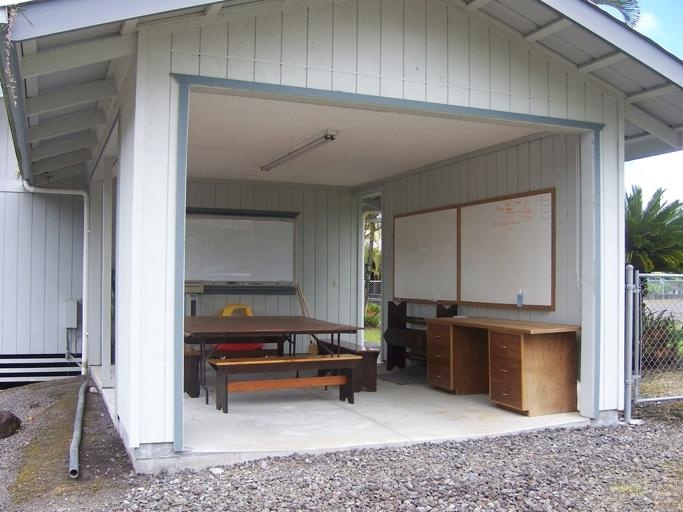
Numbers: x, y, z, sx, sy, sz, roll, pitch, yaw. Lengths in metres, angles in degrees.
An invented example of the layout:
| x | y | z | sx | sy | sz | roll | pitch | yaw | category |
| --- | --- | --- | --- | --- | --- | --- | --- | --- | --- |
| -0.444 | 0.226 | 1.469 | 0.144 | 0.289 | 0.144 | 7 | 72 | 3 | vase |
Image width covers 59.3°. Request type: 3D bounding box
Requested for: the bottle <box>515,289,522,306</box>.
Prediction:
| x | y | z | sx | sy | sz | roll | pitch | yaw | category |
| --- | --- | --- | --- | --- | --- | --- | --- | --- | --- |
| 2.134 | 0.505 | 7.171 | 0.021 | 0.193 | 0.116 | -1 | 2 | -27 | bottle |

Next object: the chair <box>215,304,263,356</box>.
| x | y | z | sx | sy | sz | roll | pitch | yaw | category |
| --- | --- | --- | --- | --- | --- | --- | --- | --- | --- |
| -1.642 | 1.139 | 9.395 | 0.600 | 0.817 | 0.293 | 6 | -13 | -27 | chair |

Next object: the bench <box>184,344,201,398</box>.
| x | y | z | sx | sy | sz | roll | pitch | yaw | category |
| --- | --- | --- | --- | --- | --- | --- | --- | --- | --- |
| -1.765 | 1.396 | 7.165 | 0.236 | 0.634 | 0.676 | 0 | 1 | -19 | bench |

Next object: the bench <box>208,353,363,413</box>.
| x | y | z | sx | sy | sz | roll | pitch | yaw | category |
| --- | --- | --- | --- | --- | --- | --- | --- | --- | --- |
| -0.612 | 1.398 | 7.128 | 1.703 | 0.603 | 1.957 | 0 | 1 | 4 | bench |

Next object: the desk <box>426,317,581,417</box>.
| x | y | z | sx | sy | sz | roll | pitch | yaw | category |
| --- | --- | --- | --- | --- | --- | --- | --- | --- | --- |
| 1.862 | 1.284 | 7.202 | 0.819 | 0.924 | 1.918 | 0 | -3 | -25 | desk |

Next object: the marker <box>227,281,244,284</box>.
| x | y | z | sx | sy | sz | roll | pitch | yaw | category |
| --- | --- | --- | --- | --- | --- | --- | --- | --- | --- |
| -1.752 | 0.442 | 10.004 | 0.242 | 0.059 | 0.034 | -1 | 2 | -27 | marker |

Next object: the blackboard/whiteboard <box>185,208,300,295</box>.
| x | y | z | sx | sy | sz | roll | pitch | yaw | category |
| --- | --- | --- | --- | --- | --- | --- | --- | --- | --- |
| -1.725 | -0.071 | 9.998 | 1.470 | 1.077 | 0.197 | 1 | -3 | -20 | blackboard/whiteboard |

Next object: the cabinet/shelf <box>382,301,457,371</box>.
| x | y | z | sx | sy | sz | roll | pitch | yaw | category |
| --- | --- | --- | --- | --- | --- | --- | --- | --- | --- |
| 1.137 | 1.136 | 8.449 | 0.378 | 0.863 | 1.058 | 4 | -6 | -24 | cabinet/shelf |
